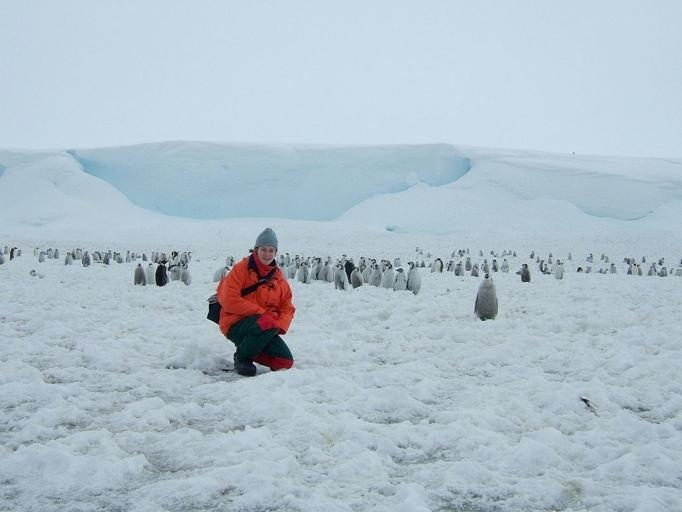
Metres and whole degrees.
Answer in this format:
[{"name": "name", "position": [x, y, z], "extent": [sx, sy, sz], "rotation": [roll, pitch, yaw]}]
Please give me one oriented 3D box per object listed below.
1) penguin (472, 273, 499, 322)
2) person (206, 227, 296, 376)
[{"name": "penguin", "position": [1.966, 0.544, 9.411], "extent": [0.287, 0.631, 0.522], "rotation": [2, 7, 11]}, {"name": "person", "position": [-0.929, 0.465, 7.342], "extent": [0.883, 1.532, 0.518], "rotation": [0, 7, -6]}]
